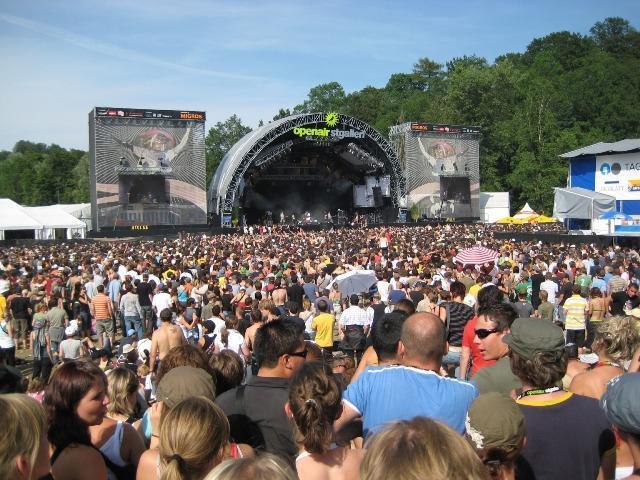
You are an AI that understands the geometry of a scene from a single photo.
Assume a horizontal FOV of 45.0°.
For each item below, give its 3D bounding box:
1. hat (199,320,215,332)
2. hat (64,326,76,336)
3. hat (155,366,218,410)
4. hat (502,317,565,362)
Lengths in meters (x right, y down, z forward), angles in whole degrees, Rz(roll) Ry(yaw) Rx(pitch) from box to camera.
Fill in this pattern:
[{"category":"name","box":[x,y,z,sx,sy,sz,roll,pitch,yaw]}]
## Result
[{"category":"hat","box":[-1.606,1.248,11.112,0.165,0.169,0.251,-1,2,-11]},{"category":"hat","box":[-3.811,1.419,11.822,0.143,0.162,0.218,-1,2,-22]},{"category":"hat","box":[-1.311,1.318,7.115,0.409,0.283,0.553,1,4,-18]},{"category":"hat","box":[1.877,0.863,6.740,0.316,0.219,0.405,-10,2,-42]}]
